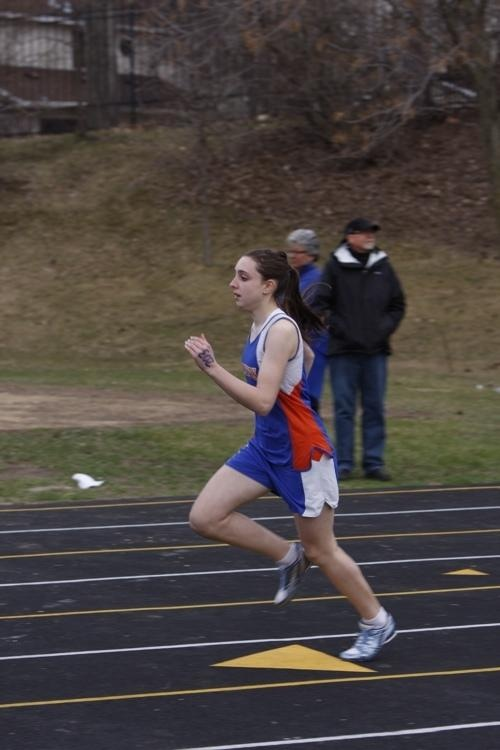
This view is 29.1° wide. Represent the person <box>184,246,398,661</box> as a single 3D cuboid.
[{"bbox_3d":[0.133,0.319,3.623,0.895,1.571,0.623,-2,5,-20],"label":"person"}]
